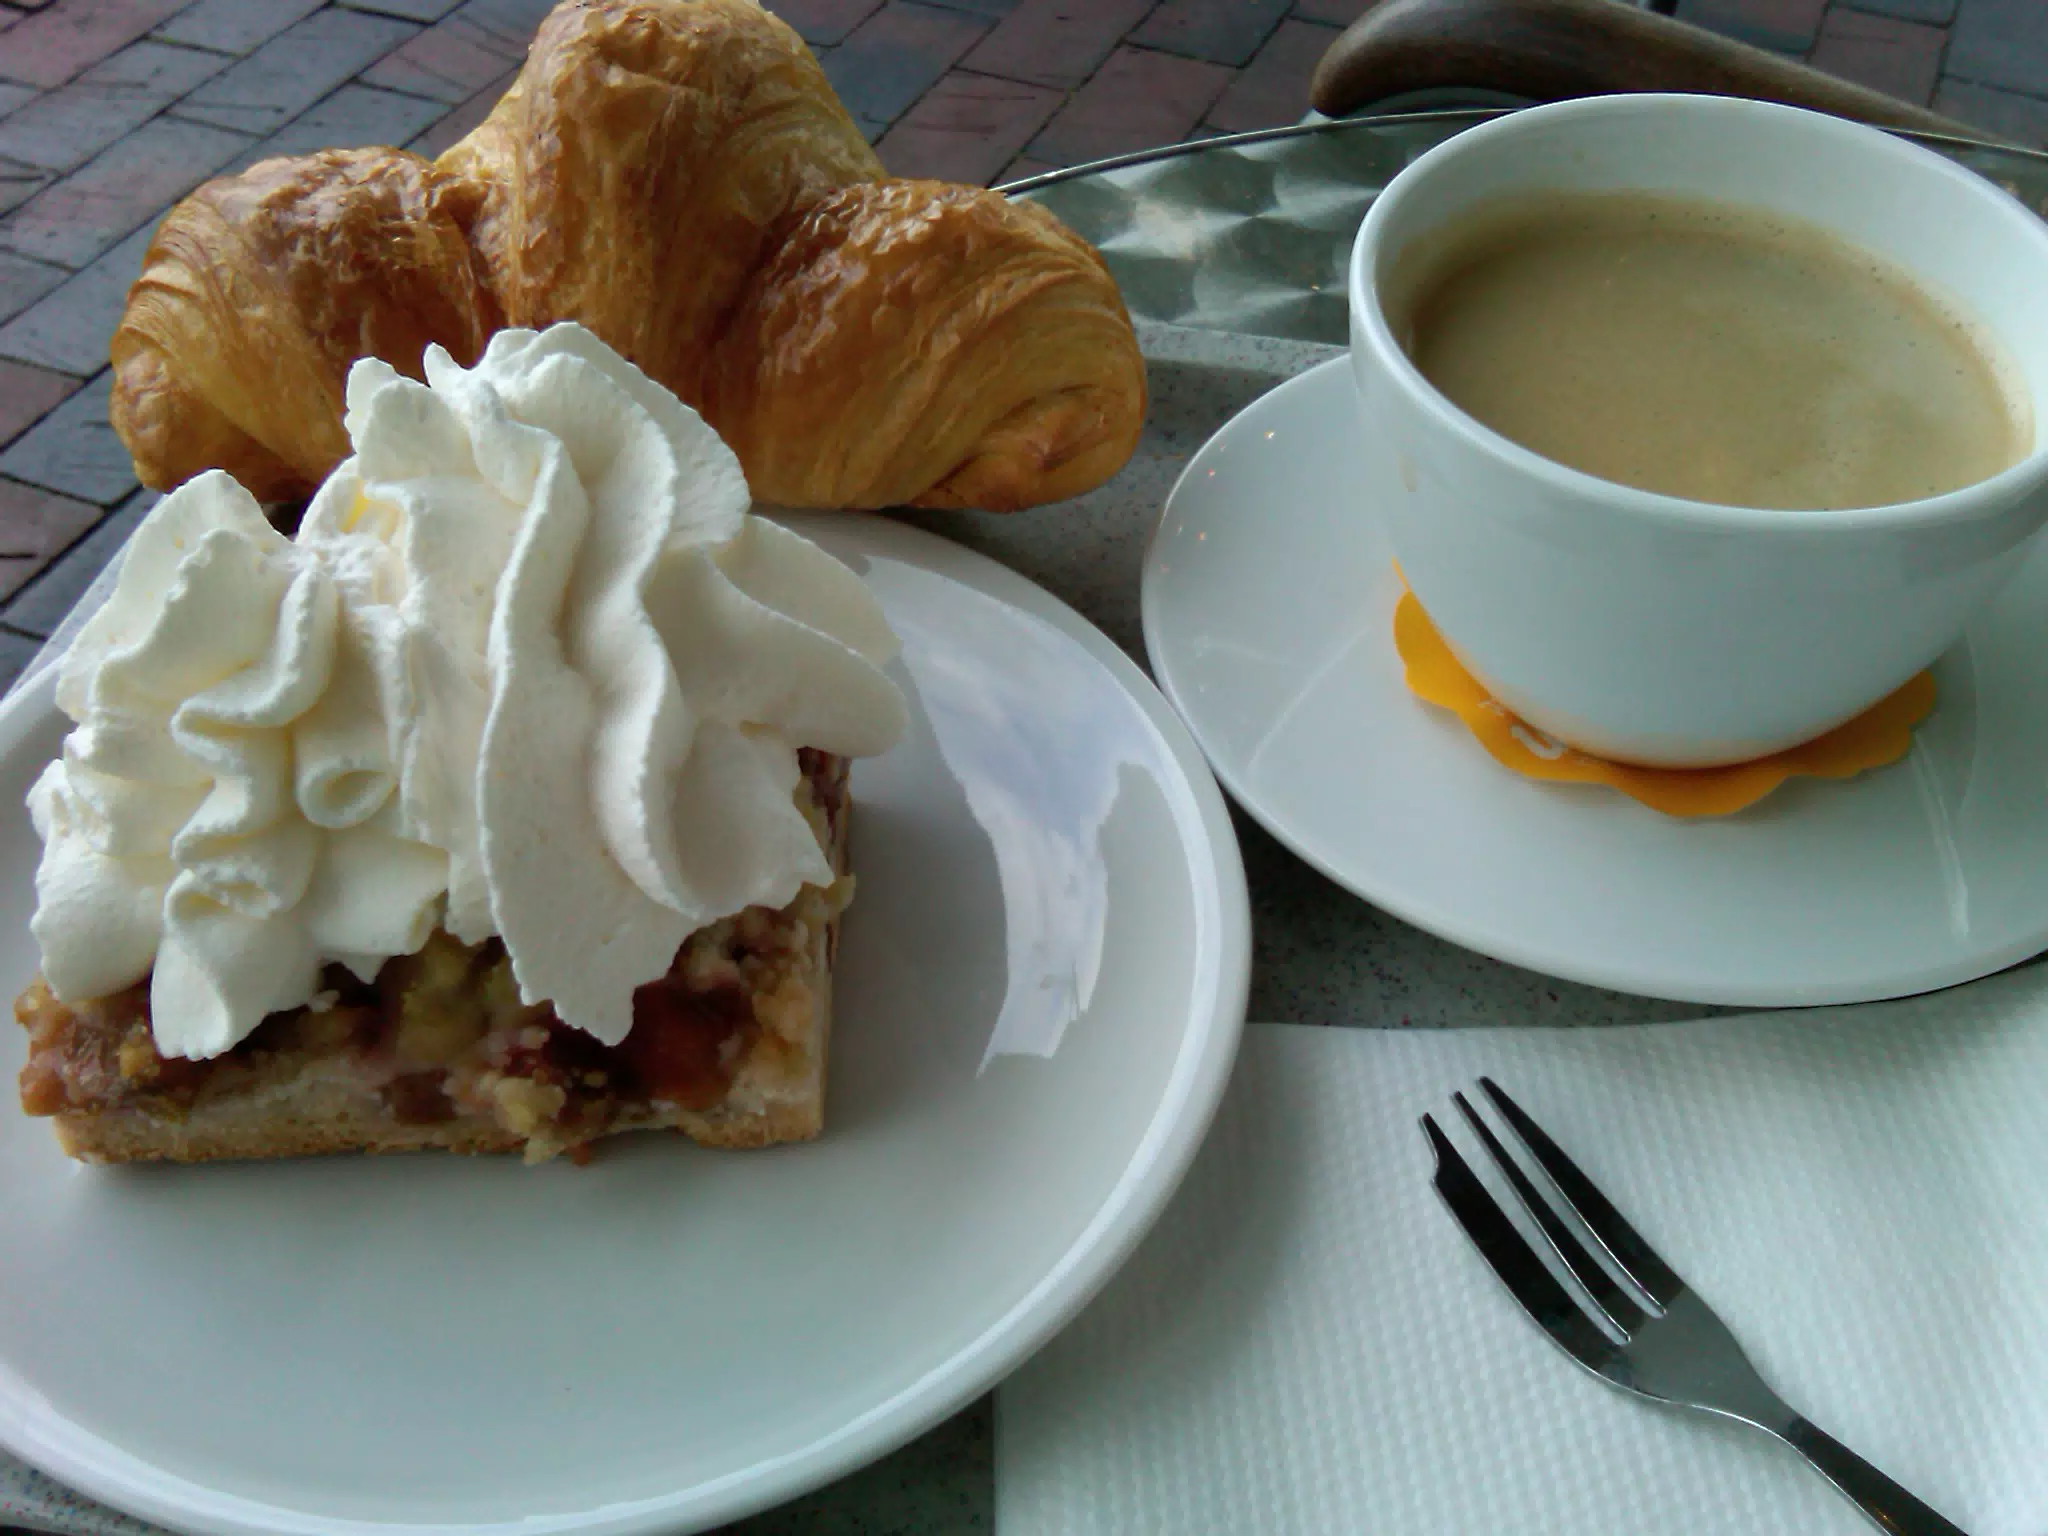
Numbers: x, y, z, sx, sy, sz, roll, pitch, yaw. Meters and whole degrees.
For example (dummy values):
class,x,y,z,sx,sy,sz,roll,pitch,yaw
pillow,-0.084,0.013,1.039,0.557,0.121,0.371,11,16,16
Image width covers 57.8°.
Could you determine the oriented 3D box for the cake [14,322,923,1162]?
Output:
class,x,y,z,sx,sy,sz,roll,pitch,yaw
cake,-0.267,0.047,0.985,0.379,0.250,0.375,1,61,1
